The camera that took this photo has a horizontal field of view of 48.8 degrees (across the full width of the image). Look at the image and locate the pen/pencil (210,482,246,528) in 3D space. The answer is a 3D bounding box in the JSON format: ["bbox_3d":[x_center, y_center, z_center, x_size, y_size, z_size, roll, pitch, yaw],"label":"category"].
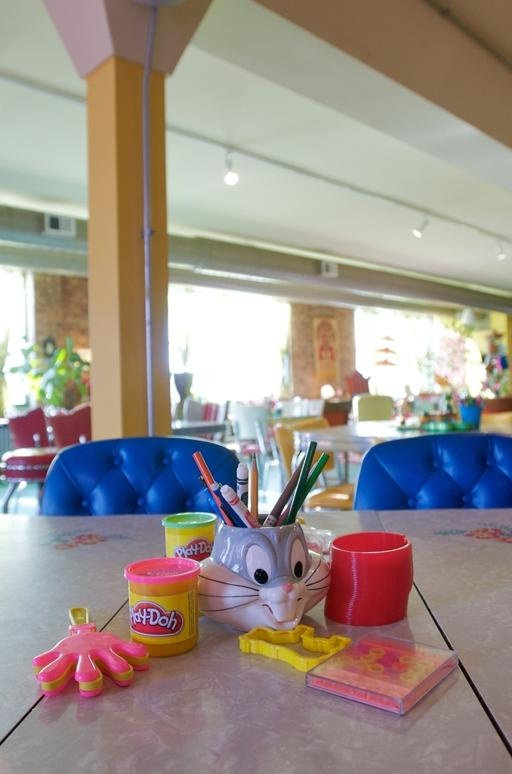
[{"bbox_3d":[-0.023,0.125,0.563,0.021,0.083,0.016,-5,36,19],"label":"pen/pencil"}]
